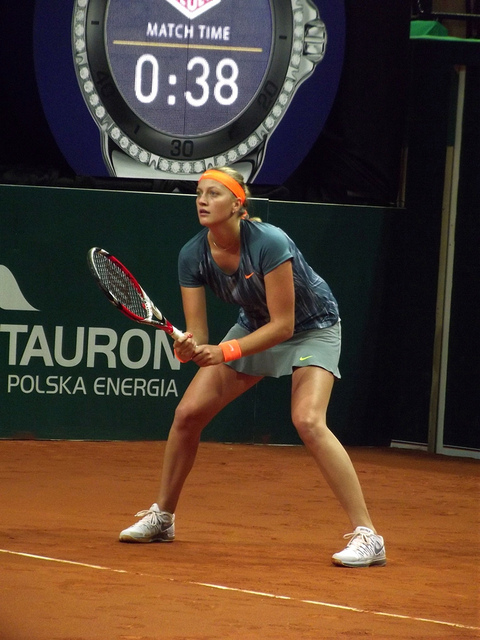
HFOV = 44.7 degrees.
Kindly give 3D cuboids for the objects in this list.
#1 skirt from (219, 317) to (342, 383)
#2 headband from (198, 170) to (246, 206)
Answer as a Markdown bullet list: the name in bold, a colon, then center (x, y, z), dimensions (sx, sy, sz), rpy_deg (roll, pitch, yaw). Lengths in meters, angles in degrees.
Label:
- **skirt**: center (0.213, 0.138, 2.431), dimensions (0.453, 0.245, 0.286), rpy_deg (0, 45, 12)
- **headband**: center (-0.070, -0.542, 2.367), dimensions (0.191, 0.142, 0.113), rpy_deg (3, 3, -2)
